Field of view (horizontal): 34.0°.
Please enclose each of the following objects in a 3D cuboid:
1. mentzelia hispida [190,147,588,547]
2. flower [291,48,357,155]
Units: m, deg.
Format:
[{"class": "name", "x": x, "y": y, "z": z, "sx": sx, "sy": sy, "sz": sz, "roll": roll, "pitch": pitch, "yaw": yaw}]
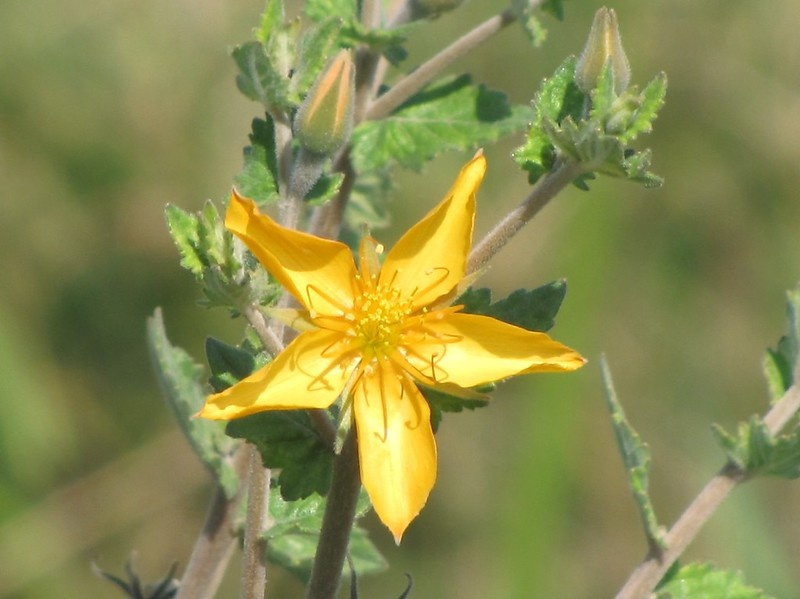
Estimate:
[{"class": "mentzelia hispida", "x": -0.055, "y": 0.096, "z": 5.751, "sx": 1.542, "sy": 0.876, "sz": 1.360, "roll": 9, "pitch": 54, "yaw": -14}, {"class": "flower", "x": -0.353, "y": -0.907, "z": 6.119, "sx": 0.269, "sy": 0.419, "sz": 0.306, "roll": -1, "pitch": 54, "yaw": -18}]
